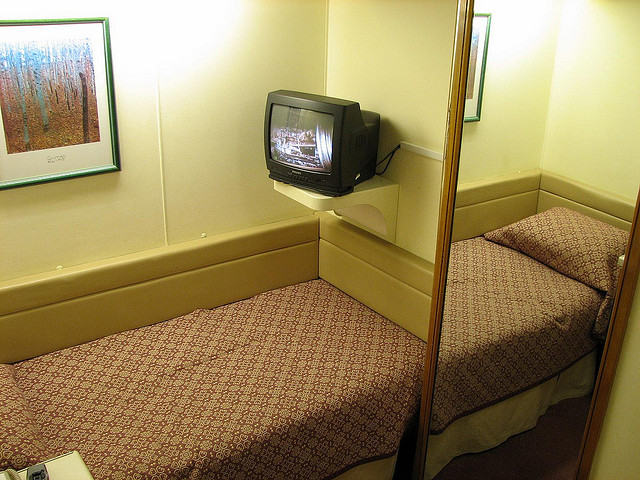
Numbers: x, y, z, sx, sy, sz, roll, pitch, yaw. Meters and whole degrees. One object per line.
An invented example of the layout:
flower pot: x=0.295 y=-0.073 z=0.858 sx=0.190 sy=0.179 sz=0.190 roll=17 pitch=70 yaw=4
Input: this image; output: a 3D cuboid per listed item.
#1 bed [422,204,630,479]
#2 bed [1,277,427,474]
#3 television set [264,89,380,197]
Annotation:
bed: x=0.706 y=0.286 z=1.772 sx=0.849 sy=0.562 sz=0.606 roll=-27 pitch=45 yaw=-14
bed: x=-0.408 y=0.610 z=2.092 sx=1.331 sy=0.277 sz=0.675 roll=-10 pitch=32 yaw=-19
television set: x=0.017 y=-0.505 z=2.404 sx=0.487 sy=0.425 sz=0.425 roll=22 pitch=32 yaw=39
